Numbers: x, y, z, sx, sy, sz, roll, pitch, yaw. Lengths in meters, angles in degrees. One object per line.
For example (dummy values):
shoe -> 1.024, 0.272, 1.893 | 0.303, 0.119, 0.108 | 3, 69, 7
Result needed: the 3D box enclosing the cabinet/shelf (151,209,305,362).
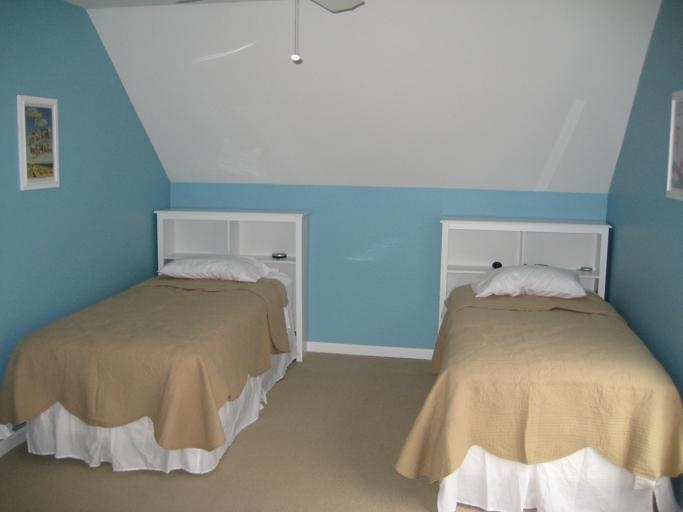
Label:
cabinet/shelf -> -0.912, 0.255, 4.506 | 1.268, 1.340, 0.385 | 1, 7, 7
